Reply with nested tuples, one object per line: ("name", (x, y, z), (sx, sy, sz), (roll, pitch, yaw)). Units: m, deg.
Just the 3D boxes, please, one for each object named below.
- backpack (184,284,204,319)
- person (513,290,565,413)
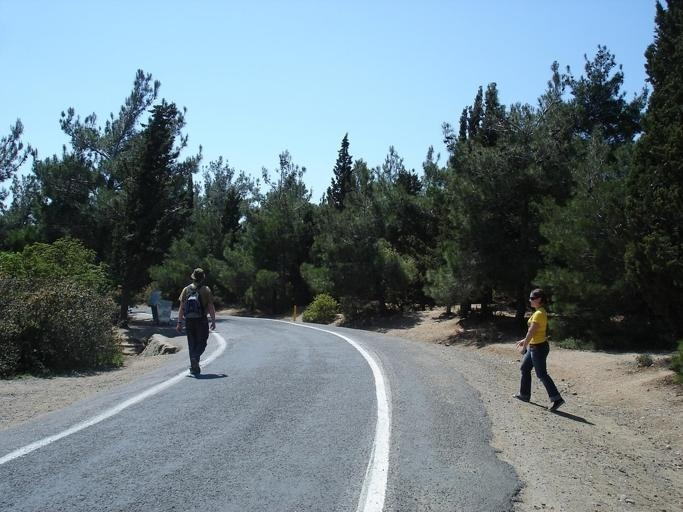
("backpack", (-3.478, 1.089, 12.862), (0.359, 0.794, 0.375), (2, 3, 2))
("person", (4.246, 1.925, 11.691), (0.870, 2.393, 1.391), (4, 4, 24))
